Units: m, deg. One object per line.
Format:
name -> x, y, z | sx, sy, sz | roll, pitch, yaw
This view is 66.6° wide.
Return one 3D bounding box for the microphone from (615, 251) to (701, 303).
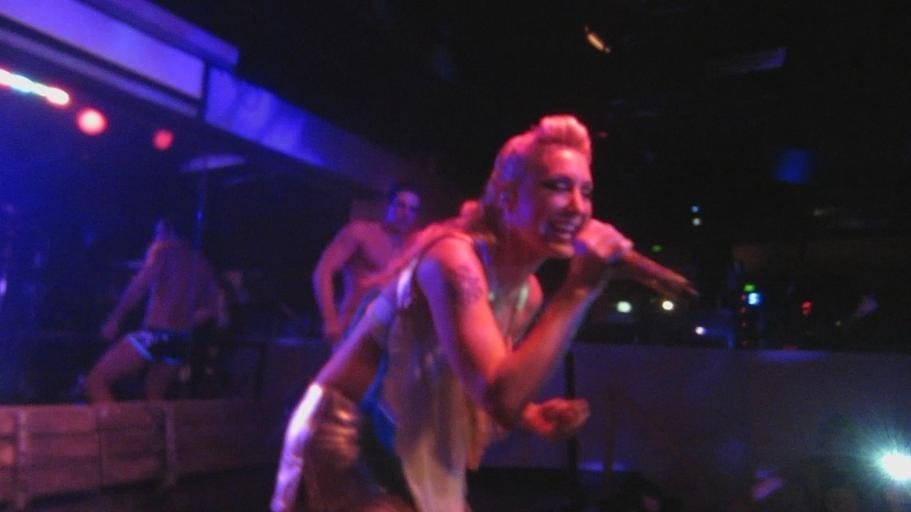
microphone -> 1.427, 0.140, 4.830 | 0.524, 0.285, 0.153 | 30, 39, 17
